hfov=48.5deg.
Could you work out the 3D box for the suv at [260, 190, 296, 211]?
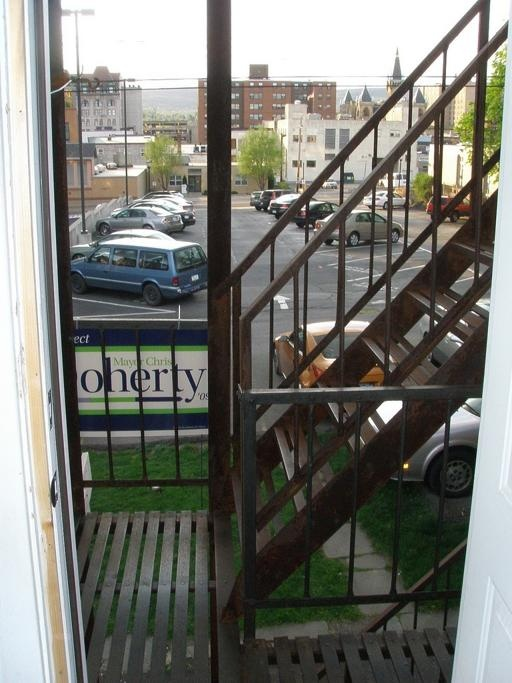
[{"bbox_3d":[1.608,-10.714,42.638,2.433,1.437,1.332,-27,33,-32],"label":"suv"}]
